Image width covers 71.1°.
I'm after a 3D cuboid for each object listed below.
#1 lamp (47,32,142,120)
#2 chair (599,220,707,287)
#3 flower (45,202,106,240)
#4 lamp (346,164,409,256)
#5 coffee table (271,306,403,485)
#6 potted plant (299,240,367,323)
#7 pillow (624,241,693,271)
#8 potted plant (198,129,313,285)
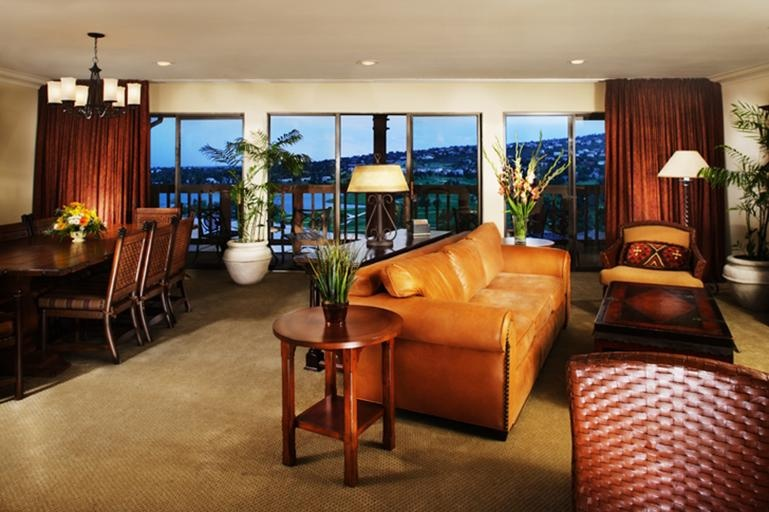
[{"bbox_3d":[-3.360,-2.110,6.185,0.850,0.839,1.006,5,7,44],"label":"lamp"},{"bbox_3d":[2.993,0.071,5.996,0.991,0.784,0.840,7,20,33],"label":"chair"},{"bbox_3d":[-3.088,-0.330,5.341,0.482,0.331,0.477,-6,12,-36],"label":"flower"},{"bbox_3d":[-0.071,-0.469,5.008,0.595,0.744,0.580,1,7,14],"label":"lamp"},{"bbox_3d":[-0.283,0.830,3.330,0.774,0.813,0.787,-5,7,-34],"label":"coffee table"},{"bbox_3d":[-0.371,0.141,3.541,0.457,0.662,0.482,-1,2,-13],"label":"potted plant"},{"bbox_3d":[3.005,-0.011,5.991,0.580,0.331,0.151,8,-13,19],"label":"pillow"},{"bbox_3d":[-1.912,-0.757,7.790,1.251,2.079,1.425,-7,10,-34],"label":"potted plant"}]
